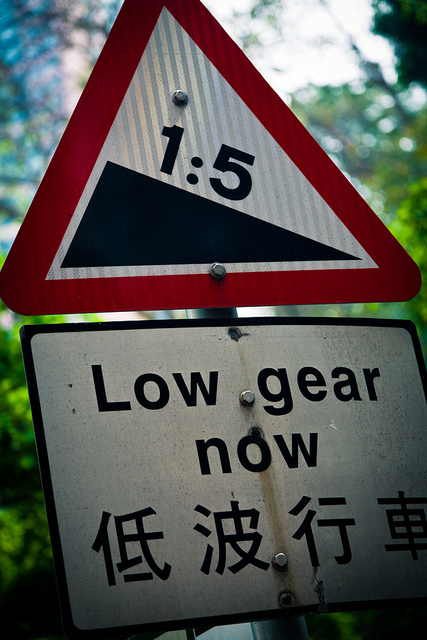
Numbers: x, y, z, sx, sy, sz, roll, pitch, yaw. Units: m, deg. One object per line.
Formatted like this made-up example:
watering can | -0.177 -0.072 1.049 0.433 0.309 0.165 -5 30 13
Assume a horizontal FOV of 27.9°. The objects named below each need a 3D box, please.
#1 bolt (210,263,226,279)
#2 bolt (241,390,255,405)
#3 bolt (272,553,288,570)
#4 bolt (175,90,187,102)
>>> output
bolt | 0.011 -0.096 1.691 0.030 0.029 0.014 -5 26 -1
bolt | 0.068 0.149 1.642 0.026 0.022 0.018 -4 27 1
bolt | 0.122 0.441 1.563 0.019 0.011 0.024 0 66 -12
bolt | -0.060 -0.460 1.777 0.019 0.024 0.012 5 -7 -13
